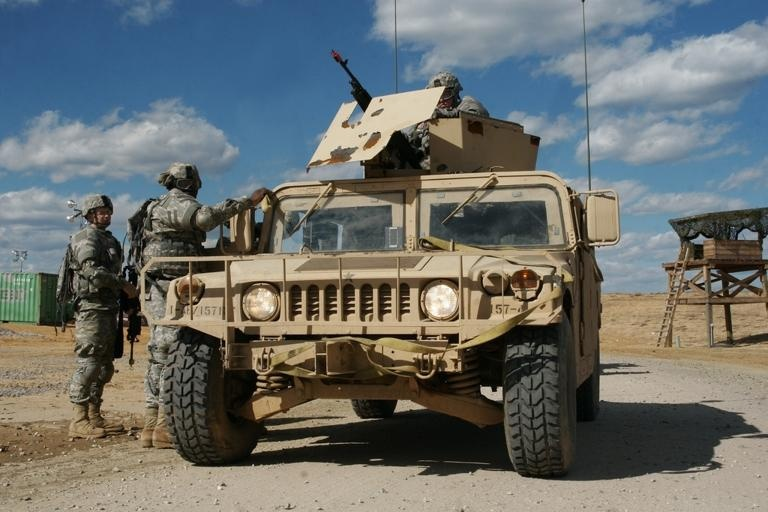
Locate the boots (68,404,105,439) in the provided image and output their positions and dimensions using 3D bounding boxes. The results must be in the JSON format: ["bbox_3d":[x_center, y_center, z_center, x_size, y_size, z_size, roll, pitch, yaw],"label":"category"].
[{"bbox_3d":[-3.575,2.003,8.543,0.426,0.407,0.188,6,-6,-2],"label":"boots"}]

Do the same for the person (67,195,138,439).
[{"bbox_3d":[-3.474,0.716,8.651,0.766,1.944,0.730,2,-1,-24],"label":"person"}]

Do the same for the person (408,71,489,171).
[{"bbox_3d":[0.929,-1.644,9.656,0.997,1.770,0.975,-4,-19,6],"label":"person"}]
